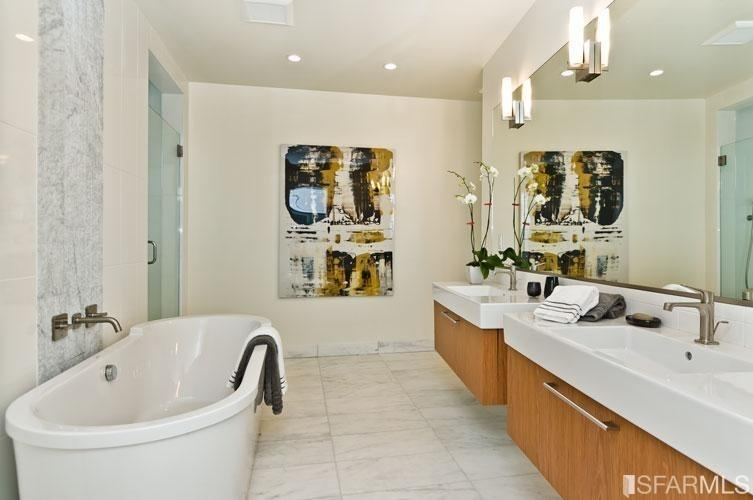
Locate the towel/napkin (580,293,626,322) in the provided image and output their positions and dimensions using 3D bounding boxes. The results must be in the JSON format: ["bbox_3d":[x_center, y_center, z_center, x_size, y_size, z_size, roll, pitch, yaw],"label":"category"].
[{"bbox_3d":[1.341,0.302,2.981,0.190,0.075,0.189,-24,16,-31],"label":"towel/napkin"}]

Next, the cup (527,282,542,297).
[{"bbox_3d":[1.131,0.282,3.636,0.100,0.101,0.102,1,4,0],"label":"cup"}]

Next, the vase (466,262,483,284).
[{"bbox_3d":[0.857,0.195,4.441,0.170,0.211,0.169,-2,2,-8],"label":"vase"}]

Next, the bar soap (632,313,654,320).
[{"bbox_3d":[1.475,0.368,2.805,0.108,0.021,0.078,1,9,4],"label":"bar soap"}]

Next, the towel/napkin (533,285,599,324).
[{"bbox_3d":[1.155,0.326,3.068,0.310,0.110,0.293,-33,15,-26],"label":"towel/napkin"}]

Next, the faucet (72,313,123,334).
[{"bbox_3d":[-1.716,0.454,3.136,0.353,0.144,0.097,-2,0,8],"label":"faucet"}]

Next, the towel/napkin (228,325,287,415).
[{"bbox_3d":[-0.703,0.711,3.415,0.438,0.686,0.711,0,-3,-4],"label":"towel/napkin"}]

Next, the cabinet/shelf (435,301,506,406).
[{"bbox_3d":[0.756,0.699,4.044,0.403,0.490,1.359,0,4,-9],"label":"cabinet/shelf"}]

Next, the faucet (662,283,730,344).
[{"bbox_3d":[1.592,0.327,2.528,0.315,0.300,0.100,1,2,0],"label":"faucet"}]
